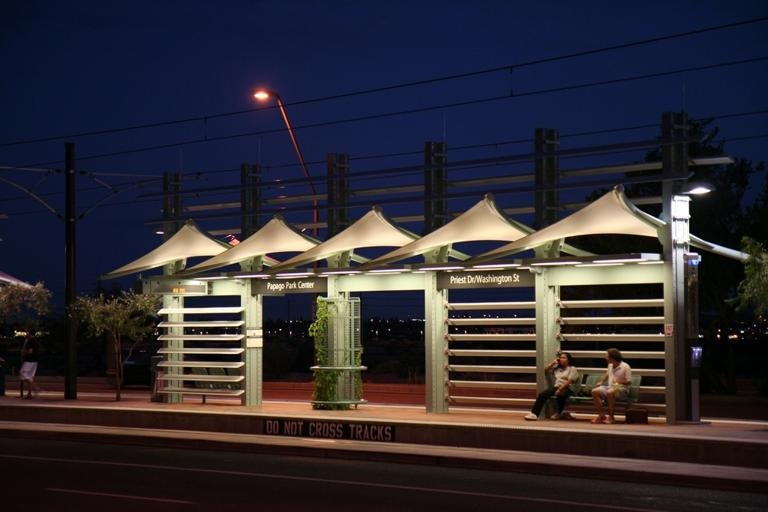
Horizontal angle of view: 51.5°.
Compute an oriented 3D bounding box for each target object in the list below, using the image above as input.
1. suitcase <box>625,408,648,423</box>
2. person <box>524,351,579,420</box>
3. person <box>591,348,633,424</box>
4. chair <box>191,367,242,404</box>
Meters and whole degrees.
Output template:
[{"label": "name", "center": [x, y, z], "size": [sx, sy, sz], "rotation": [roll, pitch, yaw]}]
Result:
[{"label": "suitcase", "center": [6.302, 3.987, 19.857], "size": [0.623, 0.355, 0.366], "rotation": [-1, -10, 6]}, {"label": "person", "center": [4.554, 3.427, 21.147], "size": [1.218, 1.782, 0.790], "rotation": [-2, -11, 11]}, {"label": "person", "center": [5.843, 3.326, 20.550], "size": [1.010, 1.880, 1.249], "rotation": [-5, -12, 24]}, {"label": "chair", "center": [-5.510, 4.227, 26.223], "size": [1.242, 1.134, 2.223], "rotation": [5, -11, -23]}]
